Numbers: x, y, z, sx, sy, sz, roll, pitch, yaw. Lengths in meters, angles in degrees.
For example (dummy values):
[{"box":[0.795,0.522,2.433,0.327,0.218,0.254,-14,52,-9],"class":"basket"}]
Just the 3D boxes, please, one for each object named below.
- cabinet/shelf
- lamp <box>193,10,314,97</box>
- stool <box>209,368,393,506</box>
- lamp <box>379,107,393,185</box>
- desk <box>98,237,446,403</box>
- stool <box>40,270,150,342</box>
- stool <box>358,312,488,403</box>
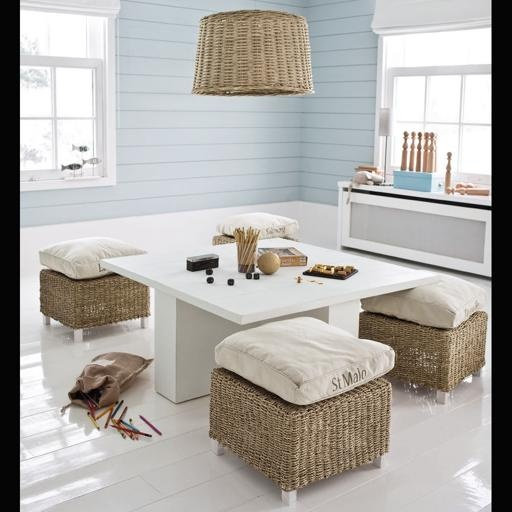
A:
[{"box":[1.984,-0.368,5.461,0.615,0.831,1.976,-18,23,-39],"class":"cabinet/shelf"},{"box":[-0.063,-1.096,2.477,0.705,0.386,0.662,7,21,17],"class":"lamp"},{"box":[0.148,0.709,1.998,0.550,0.300,0.541,-7,12,-41],"class":"stool"},{"box":[1.590,-1.374,5.664,0.158,0.893,0.429,5,13,15],"class":"lamp"},{"box":[0.017,0.397,2.993,1.407,0.761,1.500,-10,16,-42],"class":"desk"},{"box":[-1.311,0.325,3.603,0.639,0.396,0.627,4,6,34],"class":"stool"},{"box":[1.044,0.523,2.816,0.582,0.403,0.571,-9,14,-36],"class":"stool"}]
